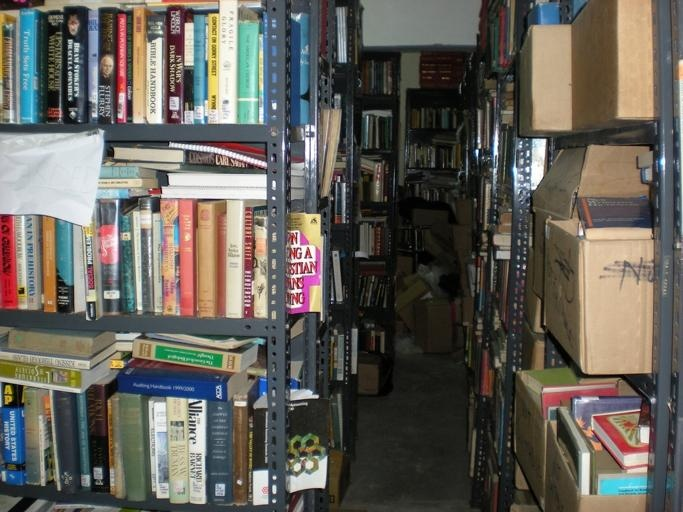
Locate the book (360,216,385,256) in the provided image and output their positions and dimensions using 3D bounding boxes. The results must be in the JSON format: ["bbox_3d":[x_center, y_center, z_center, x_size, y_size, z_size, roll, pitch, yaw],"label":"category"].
[{"bbox_3d":[0.188,-0.140,5.751,0.200,0.218,0.051,2,8,1],"label":"book"}]

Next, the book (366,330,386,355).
[{"bbox_3d":[0.218,0.550,5.783,0.166,0.182,0.124,2,6,9],"label":"book"}]

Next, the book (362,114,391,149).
[{"bbox_3d":[0.246,-0.832,5.949,0.195,0.314,0.221,3,9,14],"label":"book"}]

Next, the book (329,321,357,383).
[{"bbox_3d":[0.008,0.469,4.312,0.070,0.216,0.232,3,3,12],"label":"book"}]

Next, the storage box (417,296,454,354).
[{"bbox_3d":[0.662,0.496,6.346,0.264,0.395,0.200,8,16,39],"label":"storage box"}]

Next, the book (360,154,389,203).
[{"bbox_3d":[0.208,-0.496,5.803,0.231,0.377,0.262,0,8,2],"label":"book"}]

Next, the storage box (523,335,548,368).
[{"bbox_3d":[0.671,0.328,3.118,0.042,0.145,0.120,1,-2,-15],"label":"storage box"}]

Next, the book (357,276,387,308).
[{"bbox_3d":[0.192,0.215,5.745,0.185,0.206,0.060,3,8,1],"label":"book"}]

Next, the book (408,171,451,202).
[{"bbox_3d":[0.722,-0.583,7.462,0.256,0.070,0.258,6,-13,22],"label":"book"}]

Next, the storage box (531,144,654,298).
[{"bbox_3d":[0.708,-0.231,2.810,0.353,0.673,0.660,1,7,7],"label":"storage box"}]

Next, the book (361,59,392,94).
[{"bbox_3d":[0.219,-1.164,5.759,0.177,0.277,0.268,1,16,4],"label":"book"}]

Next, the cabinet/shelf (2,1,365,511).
[{"bbox_3d":[-0.441,0.096,2.831,1.266,1.802,0.731,-6,6,-25],"label":"cabinet/shelf"}]

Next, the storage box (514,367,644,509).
[{"bbox_3d":[0.707,0.484,2.796,0.322,0.470,0.471,0,12,5],"label":"storage box"}]
